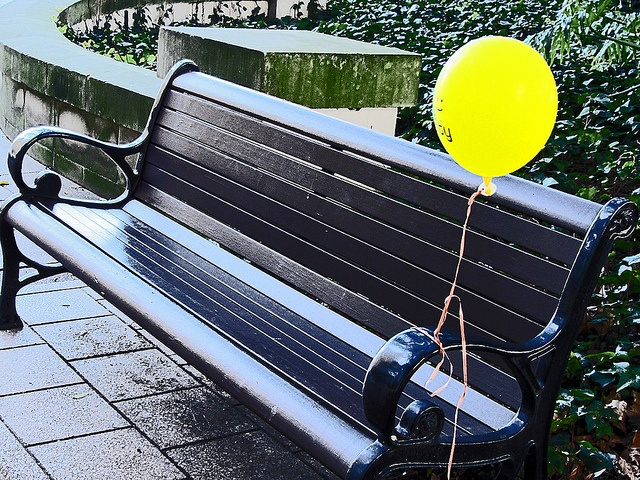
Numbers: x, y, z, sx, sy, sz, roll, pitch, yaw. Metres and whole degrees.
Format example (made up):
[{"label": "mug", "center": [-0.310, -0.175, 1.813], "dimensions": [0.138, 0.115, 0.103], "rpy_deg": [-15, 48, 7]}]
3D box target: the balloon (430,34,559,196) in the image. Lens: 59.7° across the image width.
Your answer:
[{"label": "balloon", "center": [0.451, -0.324, 1.447], "dimensions": [0.333, 0.394, 0.330], "rpy_deg": [4, 0, -34]}]
